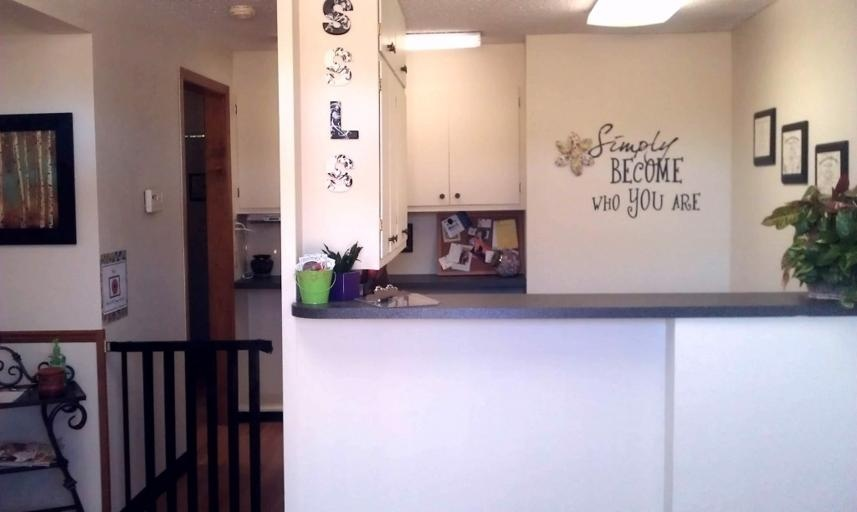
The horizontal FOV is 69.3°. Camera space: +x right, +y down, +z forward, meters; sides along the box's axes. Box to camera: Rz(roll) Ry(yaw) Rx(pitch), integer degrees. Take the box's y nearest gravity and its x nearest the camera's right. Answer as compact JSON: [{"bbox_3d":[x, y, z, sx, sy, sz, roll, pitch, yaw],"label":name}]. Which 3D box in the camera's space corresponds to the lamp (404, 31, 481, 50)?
[{"bbox_3d":[0.120,-1.857,5.340,0.585,0.076,0.305,0,0,-2],"label":"lamp"}]

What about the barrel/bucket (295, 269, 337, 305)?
[{"bbox_3d":[-0.689,0.166,3.795,0.221,0.176,0.225,3,5,0],"label":"barrel/bucket"}]

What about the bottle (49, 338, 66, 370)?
[{"bbox_3d":[-2.599,0.678,4.326,0.100,0.196,0.096,-2,3,0],"label":"bottle"}]

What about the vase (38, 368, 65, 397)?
[{"bbox_3d":[-2.554,0.849,4.186,0.164,0.167,0.195,0,-4,26],"label":"vase"}]
